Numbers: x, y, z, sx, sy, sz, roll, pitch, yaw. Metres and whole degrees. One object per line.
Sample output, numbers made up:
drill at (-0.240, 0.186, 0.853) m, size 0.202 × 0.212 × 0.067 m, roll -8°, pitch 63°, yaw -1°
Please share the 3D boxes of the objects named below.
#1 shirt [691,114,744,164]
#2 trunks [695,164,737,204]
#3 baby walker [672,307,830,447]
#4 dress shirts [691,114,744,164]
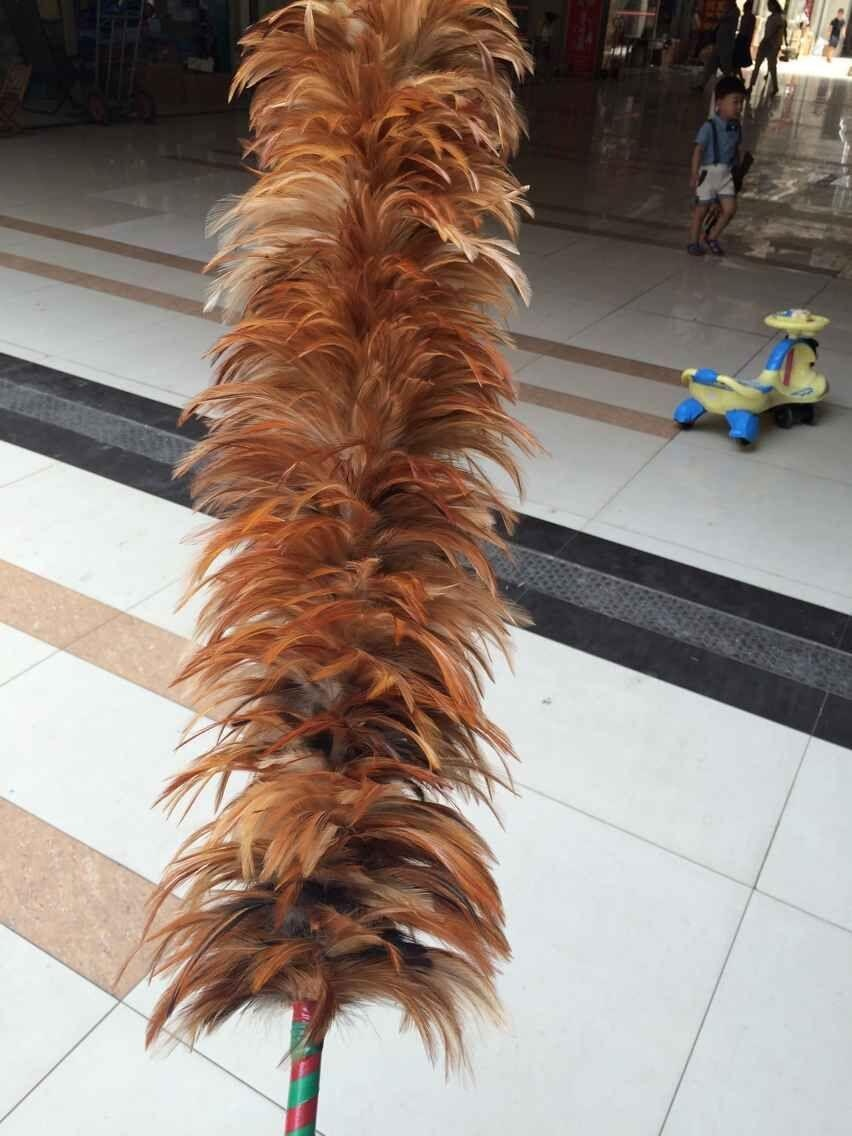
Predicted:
shirt at (2.139, -3.099, 6.894) m, size 0.332 × 0.340 × 0.242 m, roll 4°, pitch 27°, yaw 2°
trunks at (2.167, -2.862, 7.077) m, size 0.188 × 0.276 × 0.313 m, roll 11°, pitch 30°, yaw 34°
baby walker at (1.520, -0.887, 4.310) m, size 0.453 × 0.545 × 0.776 m, roll 25°, pitch 34°, yaw 36°
dress shirts at (2.139, -3.099, 6.894) m, size 0.332 × 0.340 × 0.242 m, roll 4°, pitch 27°, yaw 2°
